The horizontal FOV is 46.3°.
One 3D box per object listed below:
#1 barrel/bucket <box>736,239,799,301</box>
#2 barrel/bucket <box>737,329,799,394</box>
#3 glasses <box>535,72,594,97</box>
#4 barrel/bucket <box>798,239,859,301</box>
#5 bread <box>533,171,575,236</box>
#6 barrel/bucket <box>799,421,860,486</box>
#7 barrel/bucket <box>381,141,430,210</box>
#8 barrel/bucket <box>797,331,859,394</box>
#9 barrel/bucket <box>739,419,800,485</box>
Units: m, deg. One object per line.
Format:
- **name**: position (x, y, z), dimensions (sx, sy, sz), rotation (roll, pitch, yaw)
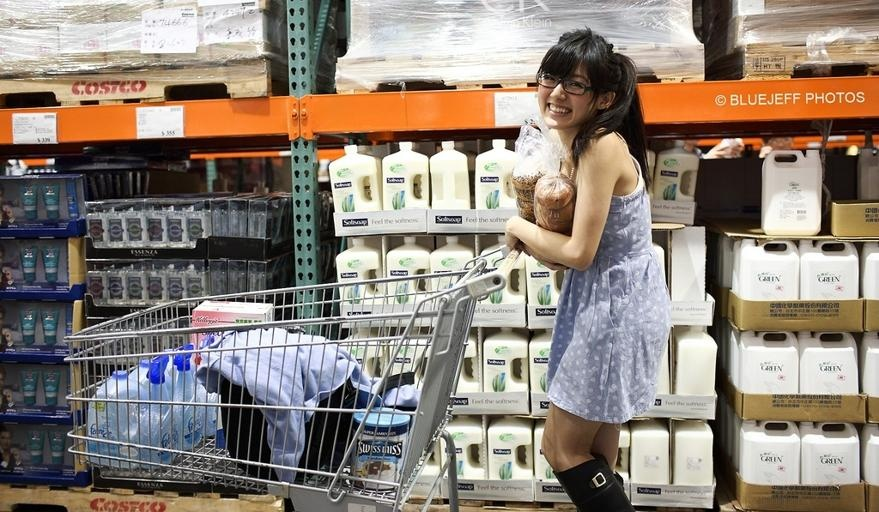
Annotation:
- **barrel/bucket**: position (1.940, 0.132, 5.916), dimensions (0.327, 0.391, 0.234), rotation (-1, 6, 23)
- **barrel/bucket**: position (1.920, 0.616, 5.970), dimensions (0.319, 0.390, 0.229), rotation (0, 13, 17)
- **glasses**: position (0.610, -0.836, 5.046), dimensions (0.264, 0.118, 0.074), rotation (0, -1, 8)
- **barrel/bucket**: position (2.243, 0.076, 5.907), dimensions (0.330, 0.399, 0.230), rotation (-3, 28, 12)
- **bread**: position (0.571, -0.259, 5.142), dimensions (0.196, 0.313, 0.238), rotation (-23, 40, -25)
- **barrel/bucket**: position (2.253, 1.125, 5.966), dimensions (0.320, 0.400, 0.227), rotation (-2, 24, 13)
- **barrel/bucket**: position (-0.184, -0.429, 6.104), dimensions (0.356, 0.425, 0.313), rotation (3, -4, -24)
- **barrel/bucket**: position (2.238, 0.608, 5.942), dimensions (0.334, 0.382, 0.239), rotation (-2, 17, 4)
- **barrel/bucket**: position (1.892, 1.127, 5.889), dimensions (0.425, 0.428, 0.249), rotation (-1, -3, 5)
